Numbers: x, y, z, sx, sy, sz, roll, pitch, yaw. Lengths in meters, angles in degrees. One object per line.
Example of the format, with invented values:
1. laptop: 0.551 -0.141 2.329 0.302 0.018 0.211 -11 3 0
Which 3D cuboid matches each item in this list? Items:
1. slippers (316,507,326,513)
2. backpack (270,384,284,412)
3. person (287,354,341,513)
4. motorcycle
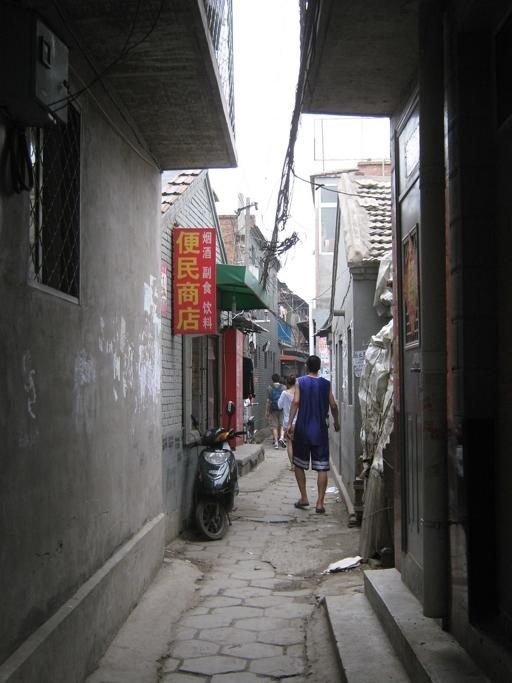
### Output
1. slippers: 0.878 2.272 7.385 0.108 0.097 0.277 -1 -7 16
2. backpack: 0.581 1.496 15.243 0.357 1.311 0.617 1 -6 -2
3. person: 0.785 1.271 7.607 0.687 2.161 0.579 0 -3 10
4. motorcycle: -0.464 1.520 6.691 0.651 1.565 1.117 1 -4 -8
